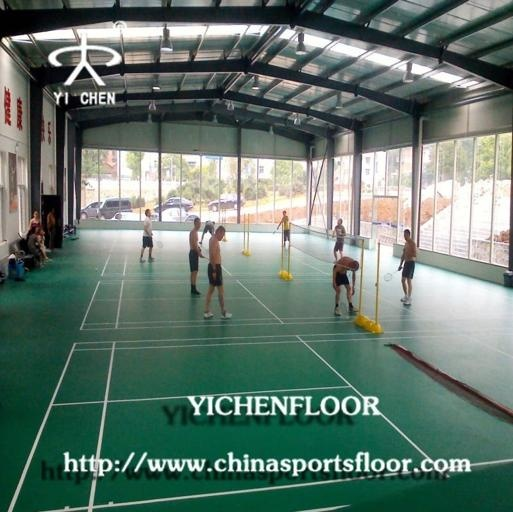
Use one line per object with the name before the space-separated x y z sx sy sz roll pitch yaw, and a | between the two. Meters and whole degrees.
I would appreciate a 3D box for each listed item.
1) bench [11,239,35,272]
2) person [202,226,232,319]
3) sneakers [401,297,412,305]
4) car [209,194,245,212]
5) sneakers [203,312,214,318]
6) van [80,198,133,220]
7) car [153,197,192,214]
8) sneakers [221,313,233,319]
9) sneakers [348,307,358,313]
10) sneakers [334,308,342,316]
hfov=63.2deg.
bench | -8.344 -0.073 14.896 0.781 1.099 2.267 -3 10 -28
person | -0.851 0.365 9.351 0.617 2.046 0.623 2 -4 -22
sneakers | 4.147 1.249 11.544 0.140 0.205 0.282 -4 -9 35
car | -2.531 -4.391 34.277 2.697 1.098 1.248 -1 3 -7
sneakers | -1.088 1.355 9.582 0.234 0.118 0.089 -4 10 -12
van | -11.531 -3.650 32.640 2.477 1.461 1.920 2 5 -12
car | -6.522 -4.014 33.285 2.531 0.950 1.219 0 4 -13
sneakers | -0.664 1.372 9.594 0.184 0.133 0.100 0 6 1
sneakers | 2.411 1.324 10.339 0.256 0.209 0.093 0 4 31
sneakers | 1.977 1.351 10.149 0.118 0.175 0.059 1 1 3
